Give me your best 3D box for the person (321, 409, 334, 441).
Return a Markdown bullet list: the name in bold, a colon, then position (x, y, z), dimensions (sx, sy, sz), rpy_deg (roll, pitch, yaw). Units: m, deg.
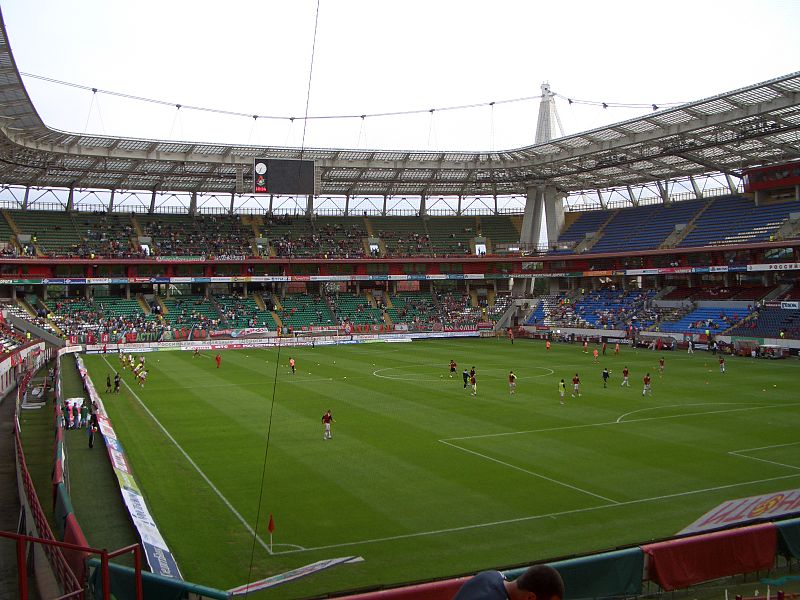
- **person**: position (-3.746, 6.360, 37.171), dimensions (0.448, 1.462, 1.263), rpy_deg (-1, 4, -5)
